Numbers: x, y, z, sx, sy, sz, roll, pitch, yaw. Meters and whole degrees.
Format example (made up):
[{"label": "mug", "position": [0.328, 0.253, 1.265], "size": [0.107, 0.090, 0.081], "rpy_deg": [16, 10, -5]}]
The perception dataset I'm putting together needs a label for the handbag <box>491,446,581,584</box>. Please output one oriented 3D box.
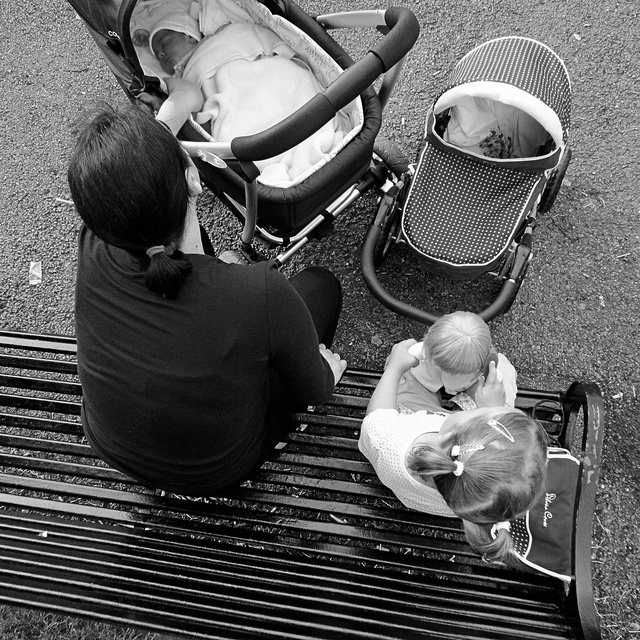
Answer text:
[{"label": "handbag", "position": [0.694, 0.592, 2.314], "size": [0.273, 0.090, 0.326], "rpy_deg": [13, 75, 6]}]
